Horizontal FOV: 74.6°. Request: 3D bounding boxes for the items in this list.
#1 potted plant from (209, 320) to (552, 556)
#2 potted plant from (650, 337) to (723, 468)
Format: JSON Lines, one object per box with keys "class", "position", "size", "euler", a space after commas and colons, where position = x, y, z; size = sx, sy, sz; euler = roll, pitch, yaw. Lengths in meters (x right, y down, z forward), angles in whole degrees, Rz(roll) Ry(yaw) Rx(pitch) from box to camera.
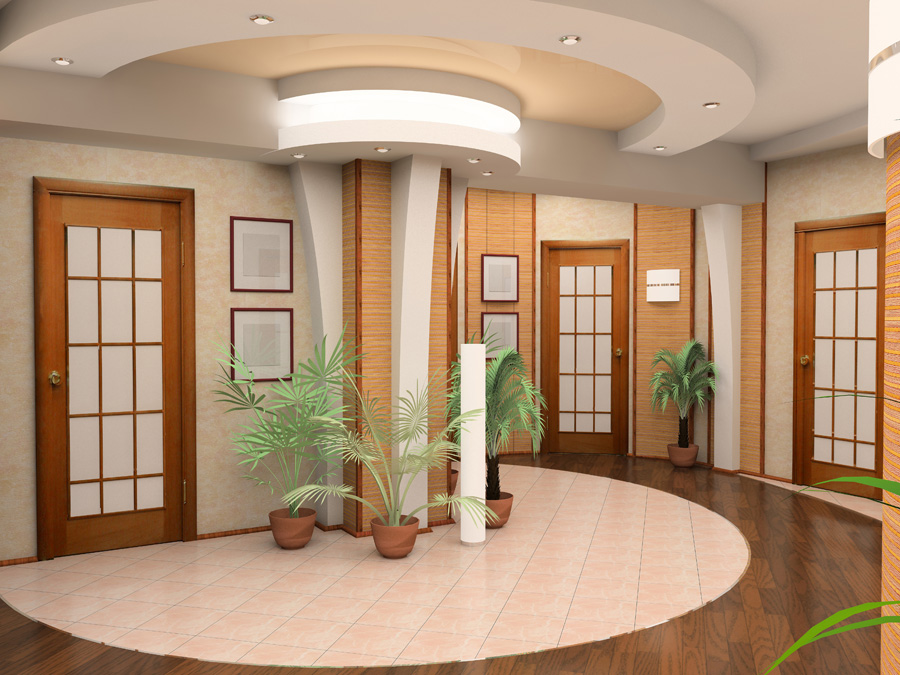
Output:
{"class": "potted plant", "position": [-0.777, 0.824, 5.001], "size": [2.071, 1.375, 2.016], "euler": [2, -1, -45]}
{"class": "potted plant", "position": [2.889, 0.814, 7.353], "size": [0.776, 1.560, 0.600], "euler": [-1, 2, 27]}
